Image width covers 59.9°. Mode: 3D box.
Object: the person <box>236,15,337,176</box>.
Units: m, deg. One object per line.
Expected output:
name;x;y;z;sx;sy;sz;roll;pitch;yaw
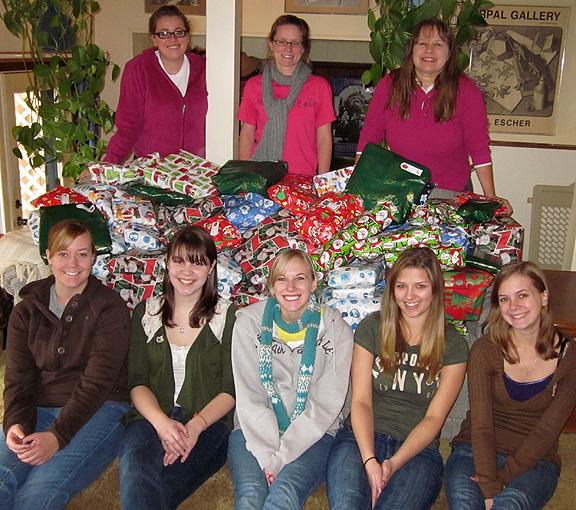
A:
person;0.003;-1.068;3.521;0.692;1.038;0.445;8;11;41

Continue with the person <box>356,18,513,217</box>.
person;0.896;-0.899;3.163;0.887;1.025;0.362;2;8;5

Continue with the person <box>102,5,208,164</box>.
person;-0.921;-1.160;3.508;0.705;1.043;0.481;0;8;-9

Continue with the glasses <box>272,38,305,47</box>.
glasses;0.001;-1.375;3.274;0.196;0.047;0.063;1;8;2

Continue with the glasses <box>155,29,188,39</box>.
glasses;-0.767;-1.444;3.277;0.199;0.065;0.052;-1;8;-14

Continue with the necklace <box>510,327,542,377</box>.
necklace;1.018;0.417;2.143;0.159;0.201;0.072;0;-1;6
